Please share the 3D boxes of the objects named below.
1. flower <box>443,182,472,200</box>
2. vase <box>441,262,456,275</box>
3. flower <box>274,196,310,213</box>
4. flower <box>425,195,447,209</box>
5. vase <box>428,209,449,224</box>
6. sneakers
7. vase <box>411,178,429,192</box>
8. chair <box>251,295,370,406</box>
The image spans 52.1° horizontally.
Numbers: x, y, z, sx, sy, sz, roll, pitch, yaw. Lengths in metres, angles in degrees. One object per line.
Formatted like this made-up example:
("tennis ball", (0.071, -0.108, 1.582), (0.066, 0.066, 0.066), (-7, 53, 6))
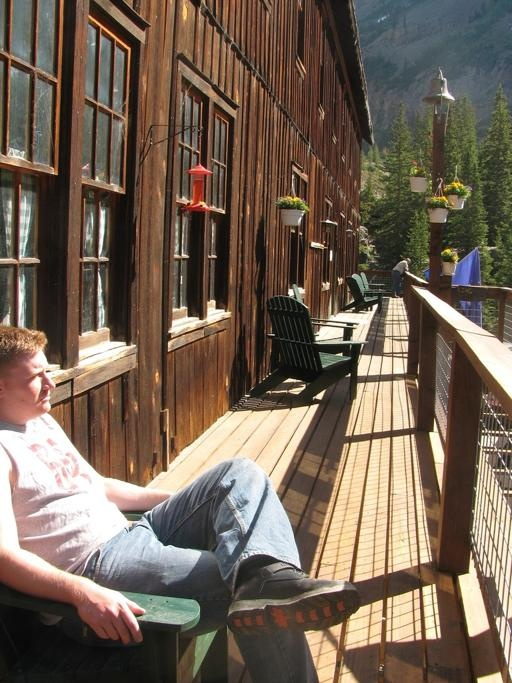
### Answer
("flower", (2.972, -2.268, 7.750), (0.322, 0.289, 0.341), (21, 18, 34))
("vase", (3.033, -1.183, 8.259), (0.230, 0.239, 0.234), (-6, 14, -26))
("flower", (0.425, -1.646, 6.208), (0.371, 0.166, 0.195), (-1, 4, -2))
("flower", (2.493, -1.938, 7.200), (0.274, 0.214, 0.268), (1, 5, 22))
("vase", (2.510, -1.751, 7.235), (0.211, 0.202, 0.243), (-1, 3, -15))
("sneakers", (0.081, 0.554, 1.120), (0.271, 0.109, 0.174), (0, 5, 4))
("vase", (2.419, -2.338, 7.734), (0.211, 0.223, 0.255), (1, 8, 8))
("chair", (0.543, 0.036, 5.291), (0.812, 1.226, 1.050), (6, 16, 32))
